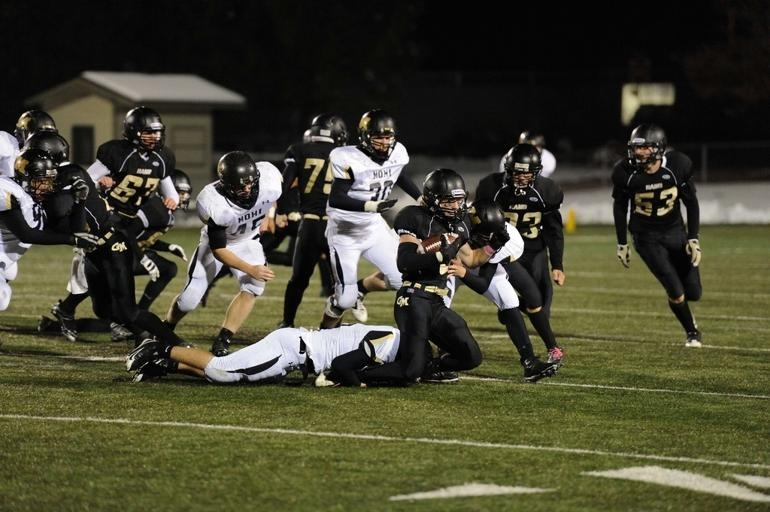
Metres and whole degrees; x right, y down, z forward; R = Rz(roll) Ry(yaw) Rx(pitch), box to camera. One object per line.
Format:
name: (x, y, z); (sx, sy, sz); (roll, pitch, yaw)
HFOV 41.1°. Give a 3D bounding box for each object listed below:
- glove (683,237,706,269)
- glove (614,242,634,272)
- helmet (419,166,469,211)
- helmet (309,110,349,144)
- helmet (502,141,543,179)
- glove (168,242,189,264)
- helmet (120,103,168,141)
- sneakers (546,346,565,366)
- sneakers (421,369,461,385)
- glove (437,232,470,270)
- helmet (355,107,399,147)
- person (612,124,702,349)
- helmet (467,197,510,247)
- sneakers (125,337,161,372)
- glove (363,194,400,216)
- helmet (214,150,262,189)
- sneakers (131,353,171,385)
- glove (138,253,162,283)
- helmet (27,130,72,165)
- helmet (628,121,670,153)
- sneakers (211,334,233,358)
glove: (3.302, -0.041, 11.049); (0.134, 0.291, 0.461); (0, 2, 16)
glove: (3.259, 0.032, 14.095); (0.205, 0.396, 0.304); (-10, -16, 19)
helmet: (0.532, -0.591, 9.040); (0.419, 0.354, 0.466); (-6, 29, -26)
helmet: (-0.654, -1.388, 11.452); (0.391, 0.353, 0.507); (5, 0, 17)
helmet: (1.296, -0.890, 9.739); (0.406, 0.364, 0.442); (5, 24, -3)
glove: (-2.867, -0.035, 14.238); (0.127, 0.281, 0.388); (-36, 40, -22)
helmet: (-2.370, -1.292, 10.162); (0.463, 0.358, 0.348); (21, 24, 37)
sneakers: (1.520, 0.915, 9.256); (0.150, 0.165, 0.180); (18, 11, 10)
sneakers: (0.495, 1.076, 9.152); (0.381, 0.140, 0.119); (-2, 4, 1)
glove: (0.592, -0.048, 8.771); (0.283, 0.110, 0.214); (-39, -12, 5)
helmet: (-0.092, -1.260, 10.144); (0.373, 0.348, 0.430); (-7, 8, -23)
person: (2.899, -0.241, 11.014); (0.941, 2.328, 0.583); (0, 2, 14)
helmet: (0.994, -0.246, 9.182); (0.395, 0.416, 0.457); (4, 9, 10)
sneakers: (-2.080, 0.861, 8.905); (0.364, 0.186, 0.146); (-40, -17, 10)
glove: (-0.022, -0.487, 9.938); (0.378, 0.122, 0.126); (3, -1, 39)
helmet: (-1.368, -0.809, 9.659); (0.389, 0.378, 0.472); (-15, 18, -29)
sneakers: (-2.014, 0.985, 8.900); (0.365, 0.186, 0.137); (-18, 19, -3)
glove: (-2.319, 0.111, 10.167); (0.097, 0.274, 0.169); (-37, 4, -25)
helmet: (-3.246, -1.004, 9.727); (0.502, 0.384, 0.366); (3, 10, -19)
helmet: (2.769, -1.250, 10.873); (0.404, 0.317, 0.282); (0, 2, 1)
sneakers: (-1.547, 0.855, 9.641); (0.115, 0.222, 0.322); (20, -28, -10)
